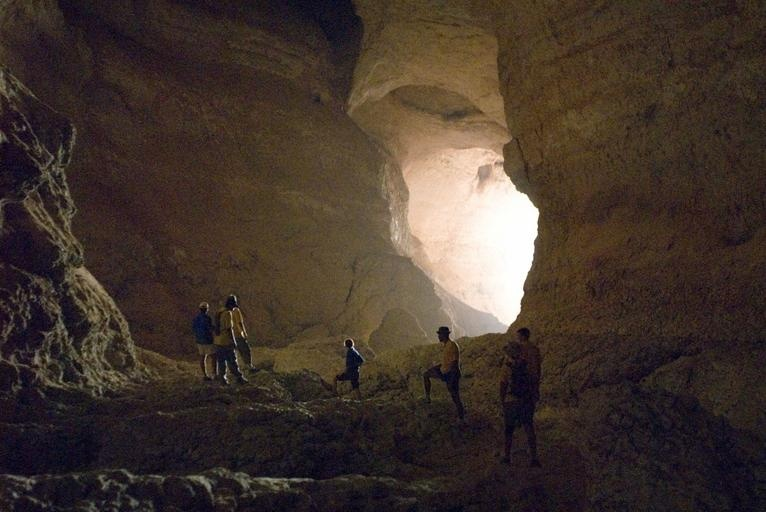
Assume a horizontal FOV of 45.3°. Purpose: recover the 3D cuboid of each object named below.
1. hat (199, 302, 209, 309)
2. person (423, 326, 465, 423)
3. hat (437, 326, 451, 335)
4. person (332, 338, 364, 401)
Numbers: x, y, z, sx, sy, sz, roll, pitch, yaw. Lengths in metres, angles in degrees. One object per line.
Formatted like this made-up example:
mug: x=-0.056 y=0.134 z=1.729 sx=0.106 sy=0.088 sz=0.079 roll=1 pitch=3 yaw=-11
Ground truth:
hat: x=-2.787 y=0.767 z=14.344 sx=0.222 sy=0.092 sz=0.306 roll=1 pitch=0 yaw=-11
person: x=0.855 y=1.706 z=12.776 sx=0.686 sy=1.529 sz=0.580 roll=2 pitch=-29 yaw=5
hat: x=0.844 y=1.011 z=12.447 sx=0.150 sy=0.066 sz=0.179 roll=1 pitch=-6 yaw=11
person: x=-0.534 y=1.776 z=14.109 sx=0.370 sy=0.892 sz=0.343 roll=-5 pitch=-43 yaw=13
